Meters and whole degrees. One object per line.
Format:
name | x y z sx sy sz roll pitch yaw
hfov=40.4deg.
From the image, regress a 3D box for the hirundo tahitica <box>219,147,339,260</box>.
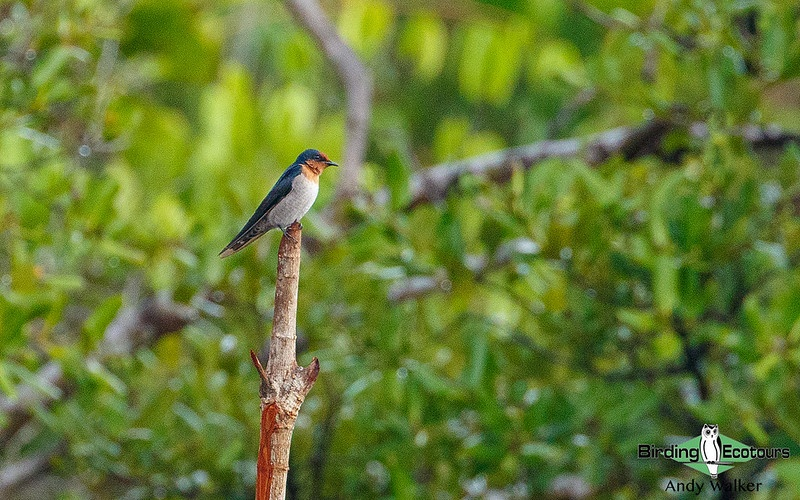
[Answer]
hirundo tahitica | -0.402 -0.160 3.625 0.411 0.153 0.278 -14 69 19
